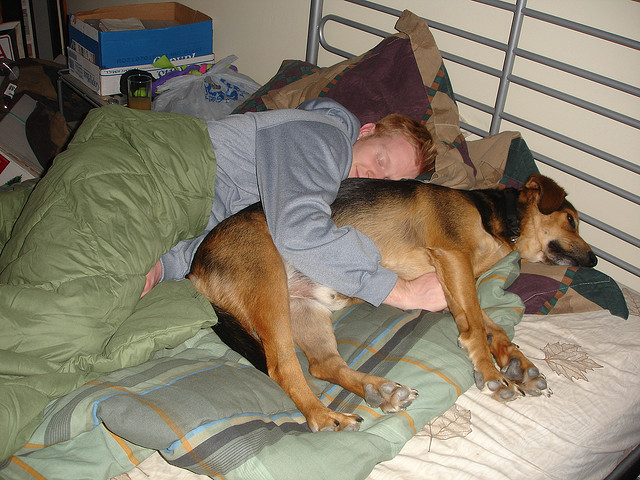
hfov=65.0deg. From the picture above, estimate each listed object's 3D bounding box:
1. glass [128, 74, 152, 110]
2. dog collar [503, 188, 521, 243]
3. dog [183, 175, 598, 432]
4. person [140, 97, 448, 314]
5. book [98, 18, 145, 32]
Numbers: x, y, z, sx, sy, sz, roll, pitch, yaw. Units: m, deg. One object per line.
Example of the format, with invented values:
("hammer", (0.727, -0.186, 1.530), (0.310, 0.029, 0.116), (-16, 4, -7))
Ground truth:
("glass", (-1.535, -1.257, 4.273), (0.186, 0.253, 0.327), (-4, 28, -20))
("dog collar", (1.126, -0.150, 3.037), (0.096, 0.300, 0.087), (-5, -9, 7))
("dog", (0.350, 0.208, 2.970), (2.777, 1.205, 0.772), (-6, -4, 0))
("person", (-0.059, -0.136, 2.969), (1.767, 0.552, 1.106), (0, 54, -13))
("book", (-1.853, -2.027, 4.736), (0.330, 0.087, 0.304), (-11, 35, -29))
